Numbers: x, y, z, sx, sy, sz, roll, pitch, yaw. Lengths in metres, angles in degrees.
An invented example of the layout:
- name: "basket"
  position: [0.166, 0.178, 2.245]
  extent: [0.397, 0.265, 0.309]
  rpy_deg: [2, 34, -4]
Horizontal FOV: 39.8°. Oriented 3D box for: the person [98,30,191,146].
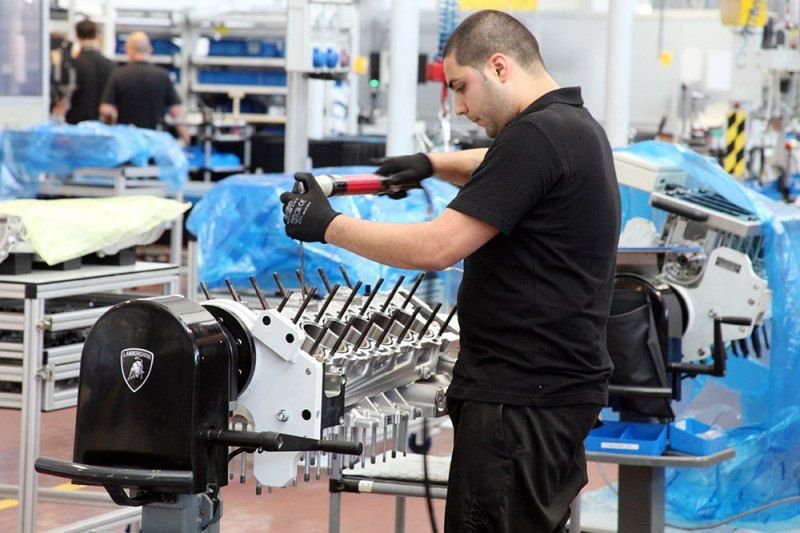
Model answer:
- name: "person"
  position: [-2.174, -1.538, 9.203]
  extent: [0.464, 0.791, 0.719]
  rpy_deg: [4, 8, 22]
